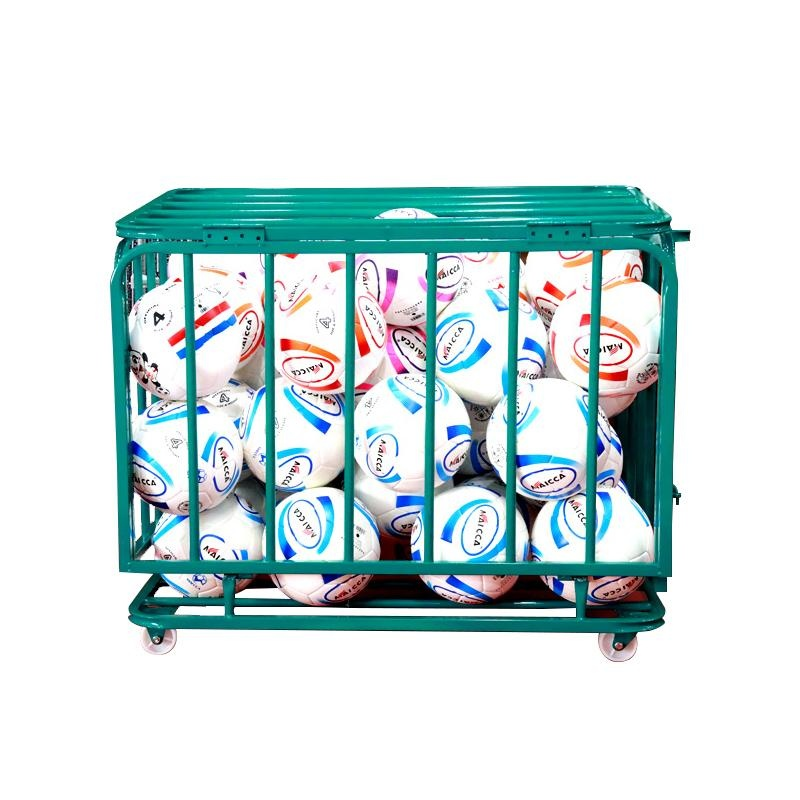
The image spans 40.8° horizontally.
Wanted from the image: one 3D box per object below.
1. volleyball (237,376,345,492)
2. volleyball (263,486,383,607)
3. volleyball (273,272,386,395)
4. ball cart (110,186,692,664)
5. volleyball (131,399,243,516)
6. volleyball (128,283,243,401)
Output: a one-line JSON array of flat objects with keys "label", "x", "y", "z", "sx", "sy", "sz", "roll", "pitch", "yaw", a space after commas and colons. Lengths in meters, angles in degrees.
[{"label": "volleyball", "x": -0.326, "y": 0.107, "z": 3.298, "sx": 0.248, "sy": 0.276, "sz": 0.235, "roll": 17, "pitch": -34, "yaw": 34}, {"label": "volleyball", "x": -0.193, "y": 0.474, "z": 3.440, "sx": 0.379, "sy": 0.350, "sz": 0.384, "roll": -1, "pitch": -87, "yaw": 3}, {"label": "volleyball", "x": -0.213, "y": -0.196, "z": 3.293, "sx": 0.286, "sy": 0.273, "sz": 0.303, "roll": 9, "pitch": -28, "yaw": 6}, {"label": "ball cart", "x": -0.067, "y": 0.104, "z": 3.740, "sx": 1.895, "sy": 1.045, "sz": 1.235, "roll": 0, "pitch": -86, "yaw": -8}, {"label": "volleyball", "x": -0.622, "y": 0.171, "z": 3.401, "sx": 0.362, "sy": 0.339, "sz": 0.375, "roll": 1, "pitch": -85, "yaw": 4}, {"label": "volleyball", "x": -0.601, "y": -0.168, "z": 3.347, "sx": 0.385, "sy": 0.346, "sz": 0.397, "roll": -3, "pitch": -87, "yaw": 2}]
